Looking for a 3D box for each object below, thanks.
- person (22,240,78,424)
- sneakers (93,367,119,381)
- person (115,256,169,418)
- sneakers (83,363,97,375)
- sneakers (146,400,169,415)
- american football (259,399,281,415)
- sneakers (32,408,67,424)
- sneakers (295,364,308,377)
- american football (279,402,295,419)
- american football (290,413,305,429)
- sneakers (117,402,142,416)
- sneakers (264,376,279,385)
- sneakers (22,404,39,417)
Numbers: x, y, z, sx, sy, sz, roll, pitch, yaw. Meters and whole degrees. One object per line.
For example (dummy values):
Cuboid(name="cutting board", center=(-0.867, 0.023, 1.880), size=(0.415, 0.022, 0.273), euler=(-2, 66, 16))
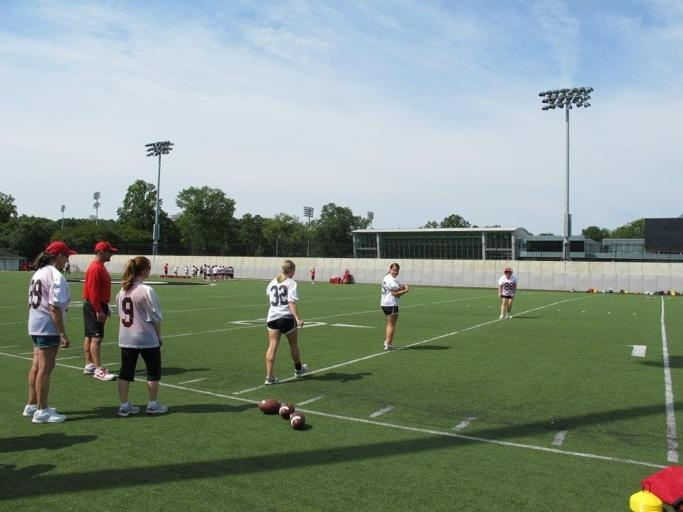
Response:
Cuboid(name="person", center=(-4.186, 1.066, 8.569), size=(0.574, 2.528, 0.886), euler=(0, 1, -28))
Cuboid(name="sneakers", center=(-4.318, 2.092, 10.942), size=(0.490, 0.231, 0.199), euler=(3, 1, 11))
Cuboid(name="person", center=(-2.940, 1.164, 8.872), size=(0.693, 2.323, 0.493), euler=(1, 1, 6))
Cuboid(name="sneakers", center=(-4.724, 2.089, 11.289), size=(0.140, 0.168, 0.360), euler=(3, -1, 0))
Cuboid(name="sneakers", center=(-2.758, 2.240, 9.065), size=(0.151, 0.182, 0.365), euler=(4, -1, 44))
Cuboid(name="american football", center=(-1.082, 2.224, 9.131), size=(0.229, 0.124, 0.237), euler=(2, 5, 21))
Cuboid(name="sneakers", center=(-4.131, 2.243, 8.635), size=(0.482, 0.241, 0.191), euler=(2, 3, -11))
Cuboid(name="sneakers", center=(-0.754, 2.152, 11.455), size=(0.121, 0.145, 0.317), euler=(5, 7, 27))
Cuboid(name="american football", center=(-0.827, 2.266, 8.935), size=(0.211, 0.170, 0.162), euler=(13, -8, -34))
Cuboid(name="american football", center=(-0.627, 2.289, 8.581), size=(0.191, 0.195, 0.179), euler=(-6, 14, -21))
Cuboid(name="sneakers", center=(-3.127, 2.247, 8.972), size=(0.150, 0.185, 0.387), euler=(2, 1, 26))
Cuboid(name="sneakers", center=(-1.240, 2.204, 10.834), size=(0.107, 0.126, 0.277), euler=(2, 2, 26))
Cuboid(name="sneakers", center=(-4.527, 2.225, 8.836), size=(0.115, 0.136, 0.298), euler=(6, 1, 20))
